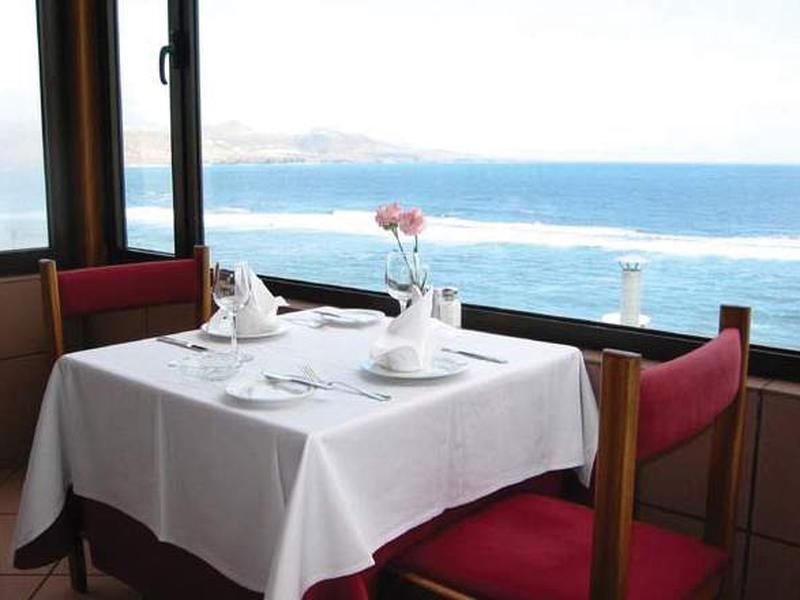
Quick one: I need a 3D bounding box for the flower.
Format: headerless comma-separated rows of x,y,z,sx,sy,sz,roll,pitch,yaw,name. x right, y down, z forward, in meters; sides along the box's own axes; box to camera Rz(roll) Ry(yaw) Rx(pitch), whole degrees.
0.021,-0.165,2.026,0.174,0.321,0.105,9,28,25,flower

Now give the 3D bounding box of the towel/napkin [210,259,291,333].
-0.473,-0.006,1.916,0.274,0.220,0.302,0,-5,-4,towel/napkin

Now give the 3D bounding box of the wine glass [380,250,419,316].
0.005,-0.030,1.949,0.093,0.254,0.087,-4,24,-8,wine glass
